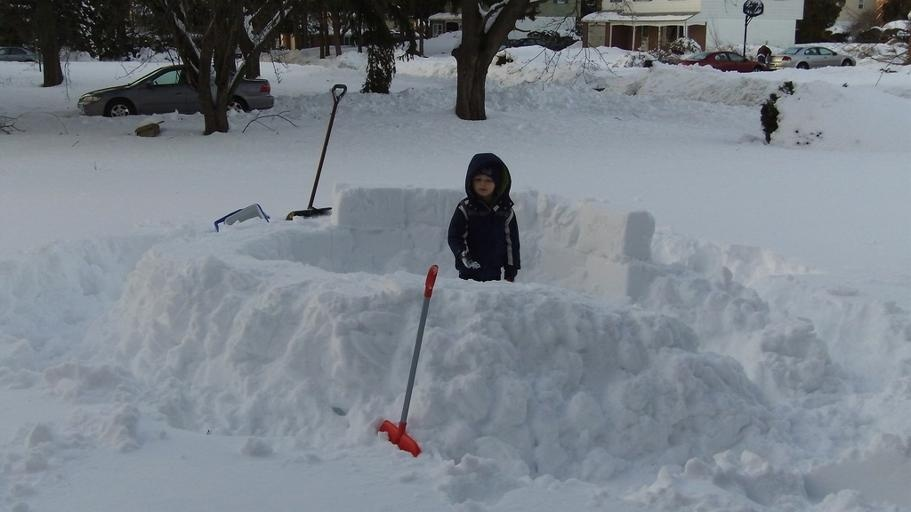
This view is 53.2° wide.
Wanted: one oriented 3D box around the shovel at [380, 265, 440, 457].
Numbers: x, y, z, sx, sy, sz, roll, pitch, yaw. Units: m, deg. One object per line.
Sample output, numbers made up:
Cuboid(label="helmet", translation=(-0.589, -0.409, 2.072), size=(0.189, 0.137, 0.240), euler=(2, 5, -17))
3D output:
Cuboid(label="shovel", translation=(-0.537, 1.240, 11.385), size=(0.618, 2.115, 1.255), euler=(8, 24, 17))

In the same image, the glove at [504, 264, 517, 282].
Cuboid(label="glove", translation=(0.814, 0.260, 13.501), size=(0.175, 0.242, 0.102), euler=(5, 2, 8))

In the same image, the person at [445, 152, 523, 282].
Cuboid(label="person", translation=(0.416, -0.508, 13.320), size=(1.047, 1.870, 0.806), euler=(0, 23, -2))

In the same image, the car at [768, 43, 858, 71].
Cuboid(label="car", translation=(13.680, -7.674, 34.915), size=(3.472, 0.716, 2.012), euler=(-8, 25, -19))

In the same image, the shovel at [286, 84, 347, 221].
Cuboid(label="shovel", translation=(-2.320, -1.708, 16.004), size=(0.202, 2.745, 1.110), euler=(22, 14, 23))

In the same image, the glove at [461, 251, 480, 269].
Cuboid(label="glove", translation=(0.232, 0.075, 13.271), size=(0.265, 0.294, 0.231), euler=(10, 25, 21))
